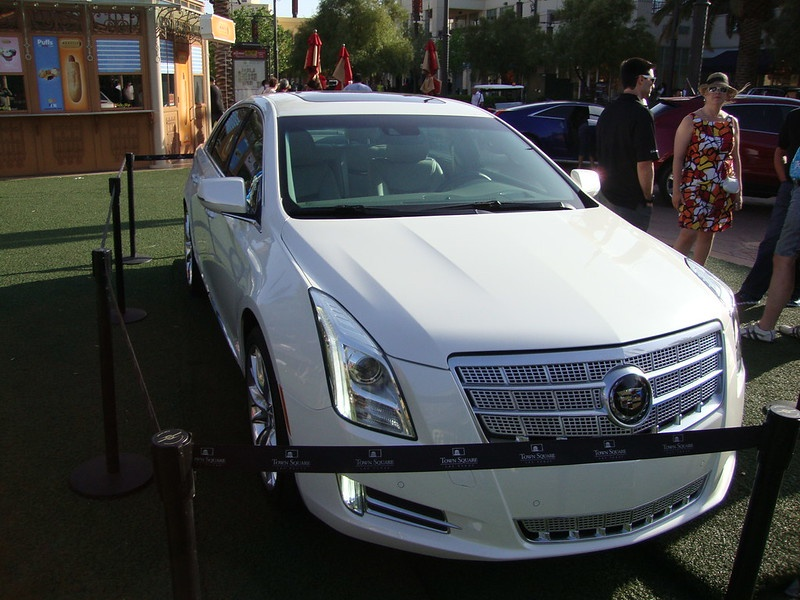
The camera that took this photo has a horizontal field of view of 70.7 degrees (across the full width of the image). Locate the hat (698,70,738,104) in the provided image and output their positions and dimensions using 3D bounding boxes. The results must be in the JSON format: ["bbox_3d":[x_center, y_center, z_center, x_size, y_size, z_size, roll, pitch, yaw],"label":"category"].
[{"bbox_3d":[2.960,-2.016,5.242,0.267,0.182,0.316,10,-2,22],"label":"hat"}]

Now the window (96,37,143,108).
[{"bbox_3d":[-6.963,-5.635,13.855,0.089,2.195,1.328,20,24,40],"label":"window"}]

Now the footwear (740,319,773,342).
[{"bbox_3d":[3.170,0.262,5.071,0.106,0.136,0.286,-23,32,-35],"label":"footwear"}]

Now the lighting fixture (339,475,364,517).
[{"bbox_3d":[-0.181,0.767,2.262,0.082,0.165,0.038,-29,-8,23],"label":"lighting fixture"}]

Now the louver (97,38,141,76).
[{"bbox_3d":[-6.929,-5.957,13.784,0.876,0.736,0.038,-13,21,-42],"label":"louver"}]
